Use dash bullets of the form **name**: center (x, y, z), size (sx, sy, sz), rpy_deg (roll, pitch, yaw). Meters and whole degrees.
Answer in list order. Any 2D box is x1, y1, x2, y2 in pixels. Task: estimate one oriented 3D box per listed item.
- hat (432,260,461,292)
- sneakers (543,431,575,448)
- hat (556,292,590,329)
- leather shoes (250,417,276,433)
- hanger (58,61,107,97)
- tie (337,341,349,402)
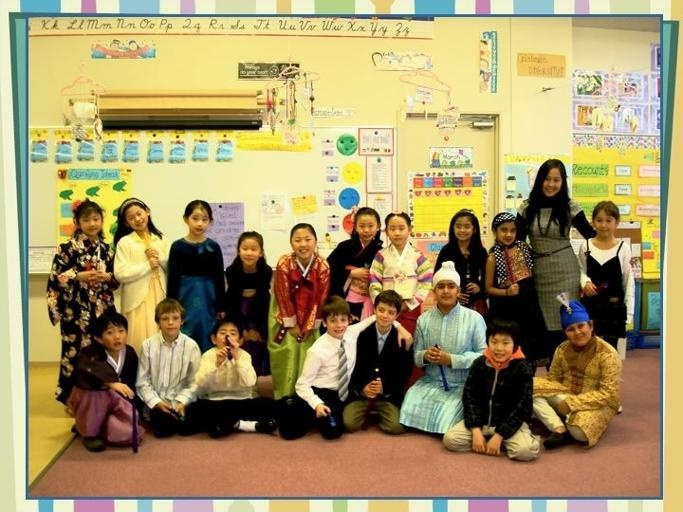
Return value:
- **hat**: center (0.580, 0.110, 3.611), size (0.142, 0.132, 0.147), rpy_deg (3, -17, 4)
- **sneakers**: center (1.075, 0.913, 3.249), size (0.169, 0.058, 0.065), rpy_deg (-2, -2, -27)
- **hat**: center (1.234, 0.281, 3.487), size (0.160, 0.192, 0.212), rpy_deg (2, 9, 18)
- **leather shoes**: center (-0.393, 0.882, 3.424), size (0.118, 0.069, 0.066), rpy_deg (0, 9, 0)
- **hanger**: center (-1.808, -1.253, 4.605), size (0.388, 0.264, 0.042), rpy_deg (2, 12, 8)
- **tie**: center (0.014, 0.611, 3.474), size (0.056, 0.314, 0.077), rpy_deg (0, 9, 2)
